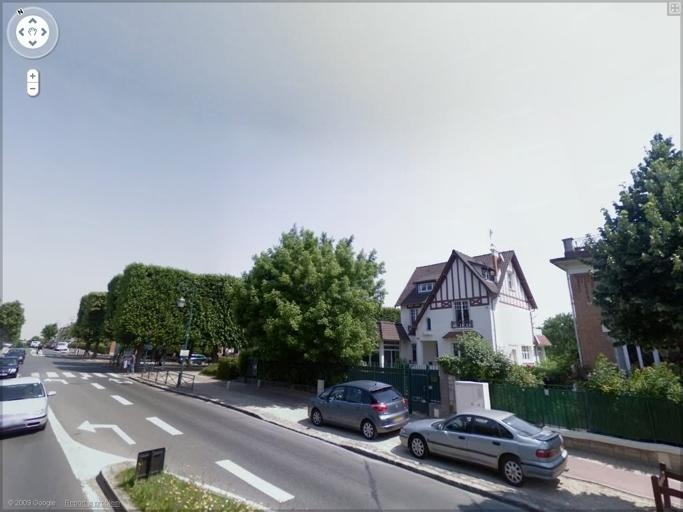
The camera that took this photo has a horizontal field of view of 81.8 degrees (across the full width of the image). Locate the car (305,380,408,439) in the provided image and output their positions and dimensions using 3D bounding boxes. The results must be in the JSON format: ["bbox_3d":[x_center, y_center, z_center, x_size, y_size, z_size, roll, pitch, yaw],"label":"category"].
[{"bbox_3d":[0.737,6.445,16.902,3.783,2.071,1.362,-4,-9,38],"label":"car"}]
